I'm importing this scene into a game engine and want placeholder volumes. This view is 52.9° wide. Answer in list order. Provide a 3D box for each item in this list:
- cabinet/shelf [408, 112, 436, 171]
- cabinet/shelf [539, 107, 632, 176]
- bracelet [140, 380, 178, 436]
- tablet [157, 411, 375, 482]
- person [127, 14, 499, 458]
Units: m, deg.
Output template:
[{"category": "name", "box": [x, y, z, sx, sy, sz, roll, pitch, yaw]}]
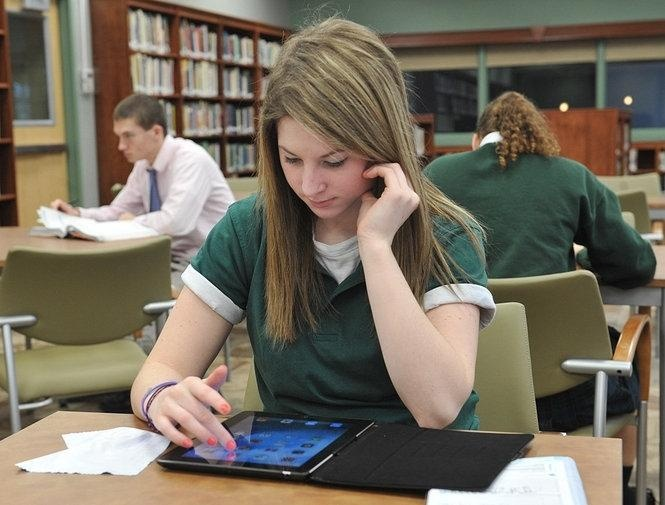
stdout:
[{"category": "cabinet/shelf", "box": [0.930, -1.184, 7.317, 0.342, 0.653, 0.197, -20, 35, -22]}, {"category": "cabinet/shelf", "box": [2.351, -0.927, 6.057, 0.455, 0.804, 0.822, 2, 12, 33]}, {"category": "bracelet", "box": [-0.321, 0.287, 1.262, 0.075, 0.036, 0.084, -7, 15, -28]}, {"category": "tablet", "box": [-0.115, 0.325, 1.108, 0.254, 0.020, 0.196, 5, 18, 24]}, {"category": "person", "box": [-0.050, -0.028, 1.289, 0.678, 0.829, 0.562, 2, 13, 18]}]
